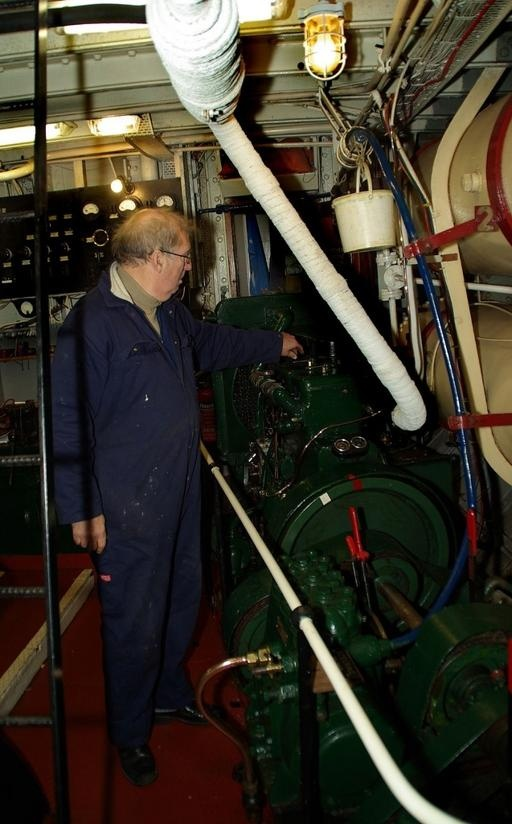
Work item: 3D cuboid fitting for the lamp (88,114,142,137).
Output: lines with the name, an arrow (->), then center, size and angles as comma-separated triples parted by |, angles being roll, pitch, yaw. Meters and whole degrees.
lamp -> -0.681, -1.375, 2.887 | 0.139, 0.067, 0.203 | -12, 19, -2

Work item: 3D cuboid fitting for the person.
person -> -0.351, 0.234, 2.166 | 0.318, 1.876, 0.947 | -1, 10, 15

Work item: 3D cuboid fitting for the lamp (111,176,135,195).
lamp -> -0.810, -1.364, 3.612 | 0.141, 0.097, 0.088 | -5, 10, -9

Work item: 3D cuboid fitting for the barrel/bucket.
barrel/bucket -> 0.342, -0.624, 1.880 | 0.151, 0.219, 0.157 | -3, 10, 1
